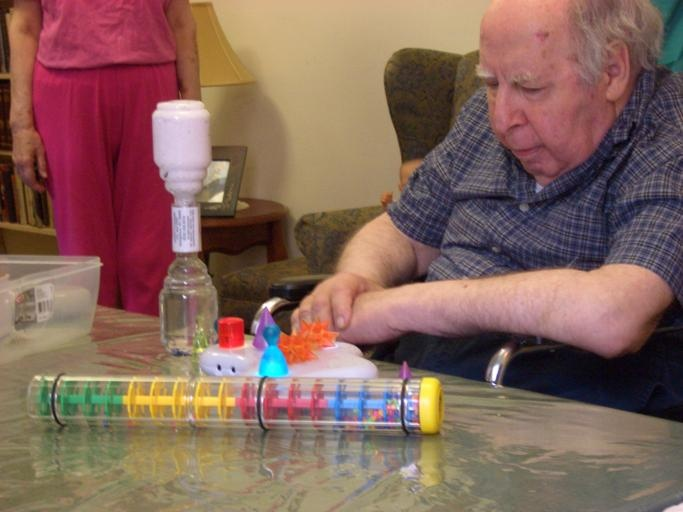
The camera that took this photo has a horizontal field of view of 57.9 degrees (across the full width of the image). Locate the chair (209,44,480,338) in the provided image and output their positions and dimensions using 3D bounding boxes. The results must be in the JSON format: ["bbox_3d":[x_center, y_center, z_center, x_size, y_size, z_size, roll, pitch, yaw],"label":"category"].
[{"bbox_3d":[0.139,-0.004,2.912,1.161,1.354,1.042,-1,-3,32],"label":"chair"}]
